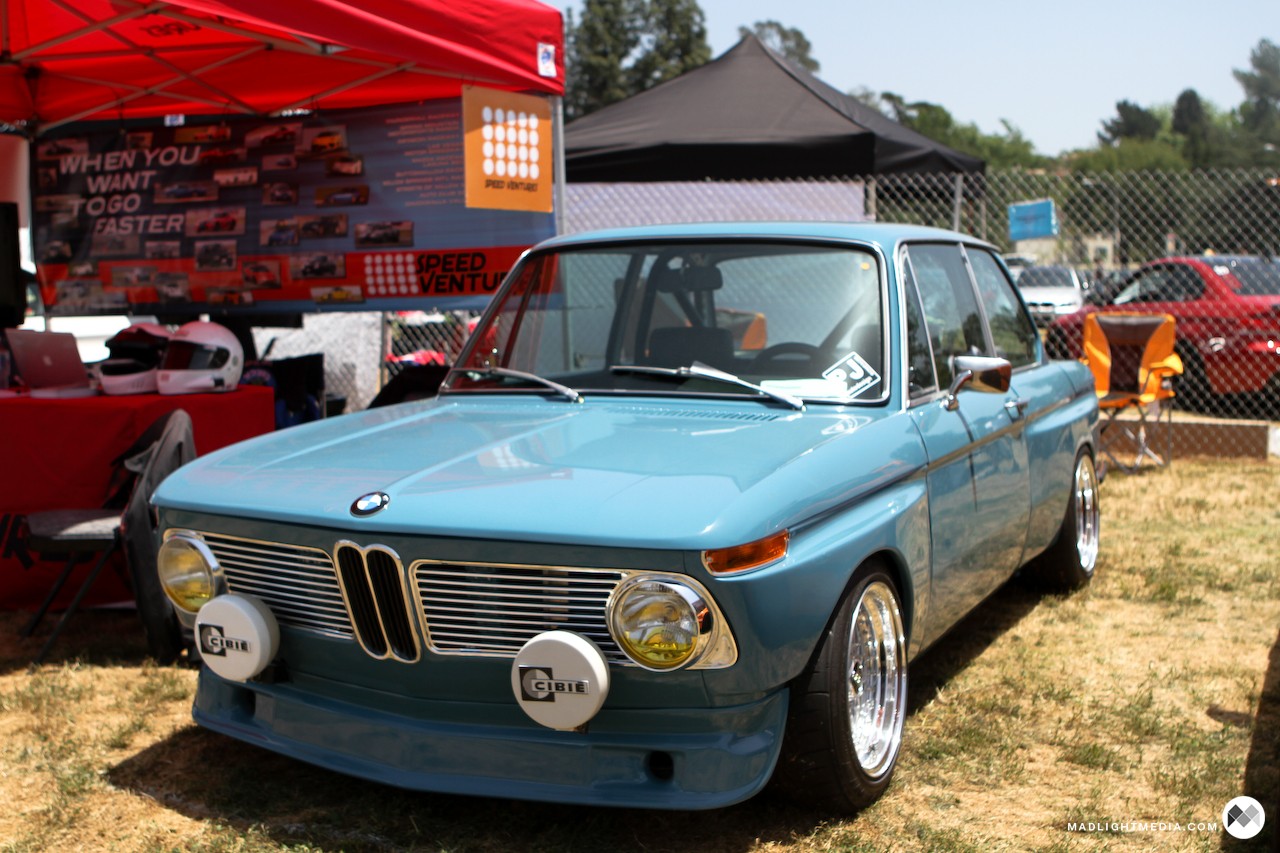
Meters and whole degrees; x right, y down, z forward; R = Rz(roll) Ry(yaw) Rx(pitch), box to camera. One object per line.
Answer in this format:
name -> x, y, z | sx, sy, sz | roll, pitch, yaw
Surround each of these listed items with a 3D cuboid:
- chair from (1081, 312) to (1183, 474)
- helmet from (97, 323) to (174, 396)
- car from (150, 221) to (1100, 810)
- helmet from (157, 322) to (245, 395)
chair -> 5.271, -0.457, 11.269 | 1.022, 1.471, 0.977 | 6, 13, 43
helmet -> -3.468, -0.499, 7.154 | 0.458, 0.486, 0.601 | 7, 12, 12
car -> 0.225, 0.264, 4.805 | 4.320, 2.384, 2.155 | -7, 12, -34
helmet -> -3.027, -0.493, 7.143 | 0.476, 0.534, 0.580 | 2, 4, 29
